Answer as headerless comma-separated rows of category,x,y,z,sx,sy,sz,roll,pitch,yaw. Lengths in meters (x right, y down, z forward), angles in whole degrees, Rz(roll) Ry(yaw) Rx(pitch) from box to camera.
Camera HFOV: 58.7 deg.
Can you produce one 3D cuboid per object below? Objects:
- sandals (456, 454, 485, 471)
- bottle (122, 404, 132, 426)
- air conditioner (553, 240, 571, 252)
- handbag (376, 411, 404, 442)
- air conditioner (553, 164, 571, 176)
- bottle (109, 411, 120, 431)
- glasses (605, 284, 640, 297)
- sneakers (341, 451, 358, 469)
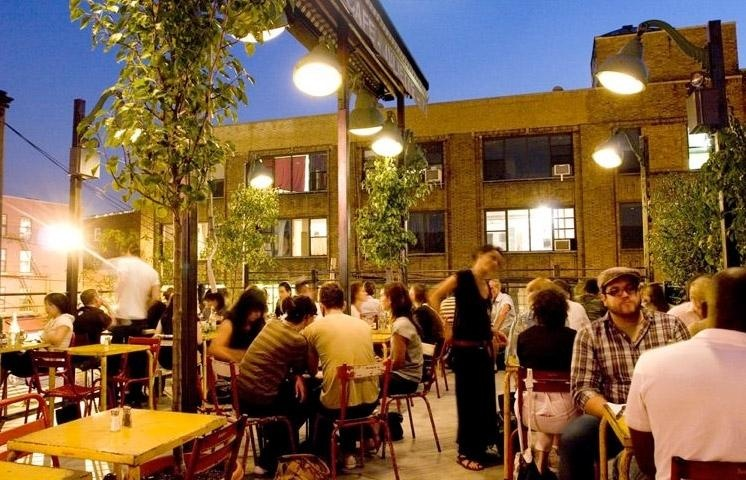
sandals,1.419,3.241,9.701,0.164,0.125,0.330,2,-7,-43
bottle,-2.668,1.899,7.190,0.102,0.202,0.207,2,-9,-21
air conditioner,7.396,0.207,25.797,0.738,0.551,0.396,0,-9,12
handbag,0.375,3.038,10.880,0.351,0.481,0.152,6,4,2
air conditioner,7.426,-2.794,25.877,0.733,0.529,0.579,-3,-9,12
bottle,-2.758,1.920,7.114,0.114,0.220,0.199,2,-9,-21
glasses,3.014,0.607,7.996,0.386,0.137,0.084,-2,-8,3
sneakers,-0.340,3.210,9.724,0.191,0.191,0.198,-1,-2,27
